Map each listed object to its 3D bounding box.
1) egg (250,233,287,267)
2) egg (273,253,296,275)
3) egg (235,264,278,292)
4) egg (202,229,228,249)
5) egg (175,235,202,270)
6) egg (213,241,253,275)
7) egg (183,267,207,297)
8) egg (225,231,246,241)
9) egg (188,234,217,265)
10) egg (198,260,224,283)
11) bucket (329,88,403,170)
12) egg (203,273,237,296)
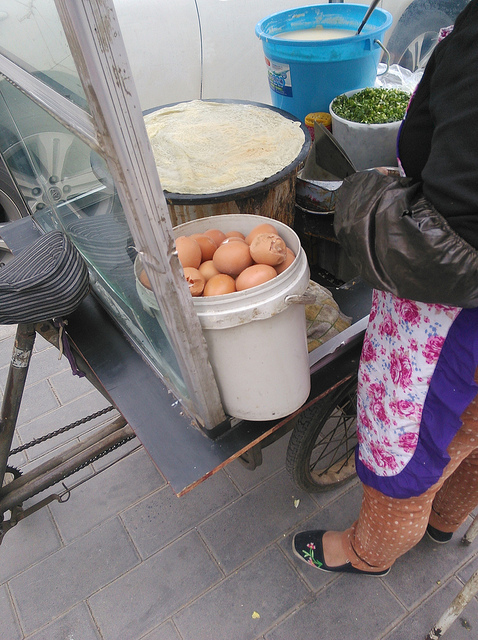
[{"bbox_3d":[0.066,-0.153,1.143,0.076,0.058,0.081,-36,47,-24],"label":"egg"},{"bbox_3d":[0.105,-0.129,1.140,0.044,0.047,0.042,1,4,13],"label":"egg"},{"bbox_3d":[0.032,-0.093,1.093,0.080,0.045,0.051,-23,34,-3],"label":"egg"},{"bbox_3d":[-0.052,-0.203,1.271,0.052,0.055,0.050,-2,19,6],"label":"egg"},{"bbox_3d":[-0.112,-0.153,1.151,0.070,0.078,0.069,1,5,30],"label":"egg"},{"bbox_3d":[-0.008,-0.146,1.193,0.088,0.063,0.063,-11,30,-24],"label":"egg"},{"bbox_3d":[-0.092,-0.085,1.086,0.061,0.056,0.068,11,-4,-10],"label":"egg"},{"bbox_3d":[-0.009,-0.208,1.267,0.034,0.023,0.041,1,17,3],"label":"egg"},{"bbox_3d":[-0.076,-0.173,1.262,0.068,0.072,0.066,0,-2,-38],"label":"egg"},{"bbox_3d":[-0.065,-0.110,1.167,0.049,0.052,0.046,-2,13,6],"label":"egg"},{"bbox_3d":[0.419,-0.614,1.776,0.305,0.195,0.129,25,55,34],"label":"bucket"},{"bbox_3d":[-0.041,-0.078,1.124,0.068,0.031,0.098,-6,42,7],"label":"egg"}]
